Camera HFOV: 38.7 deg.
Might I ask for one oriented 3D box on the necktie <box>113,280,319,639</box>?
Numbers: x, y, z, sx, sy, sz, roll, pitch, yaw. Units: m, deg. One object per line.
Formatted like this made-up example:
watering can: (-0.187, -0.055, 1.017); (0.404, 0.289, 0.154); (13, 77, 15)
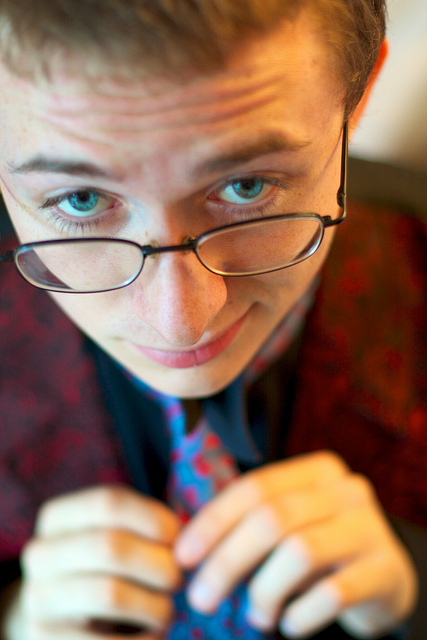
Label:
necktie: (0.018, 0.150, 0.962); (0.185, 0.185, 0.600); (0, 64, 13)
